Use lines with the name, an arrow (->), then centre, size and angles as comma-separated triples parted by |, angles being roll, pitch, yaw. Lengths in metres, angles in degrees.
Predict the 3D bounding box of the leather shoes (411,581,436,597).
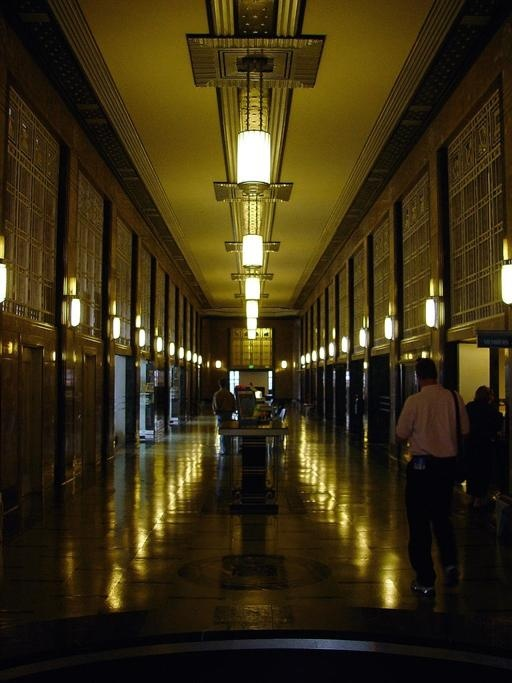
leather shoes -> 1.057, 1.587, 3.344 | 0.092, 0.069, 0.191 | 6, -9, -30

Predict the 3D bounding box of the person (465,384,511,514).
person -> 2.813, 1.238, 6.409 | 0.428, 1.351, 0.369 | -2, -7, 27

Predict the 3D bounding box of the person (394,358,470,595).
person -> 1.208, 0.878, 3.629 | 0.512, 1.553, 0.340 | 6, -8, -38
